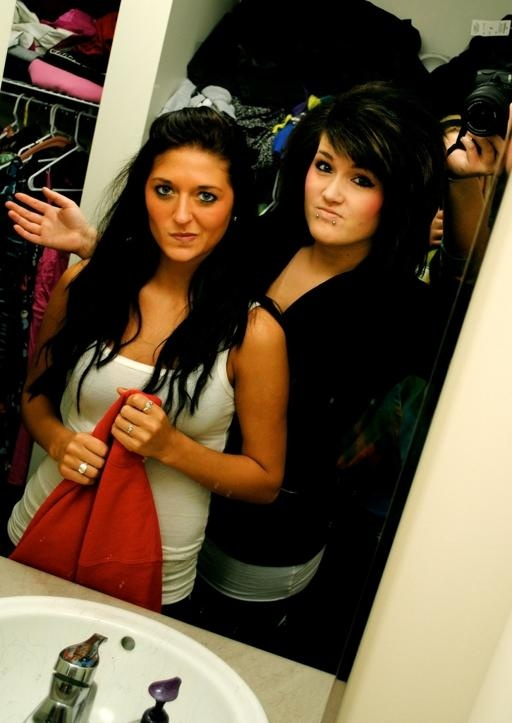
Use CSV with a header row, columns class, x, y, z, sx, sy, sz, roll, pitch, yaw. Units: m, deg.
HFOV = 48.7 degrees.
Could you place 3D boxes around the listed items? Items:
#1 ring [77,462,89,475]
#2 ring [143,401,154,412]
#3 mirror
class,x,y,z,sx,sy,sz,roll,pitch,yaw
ring,-0.250,0.154,0.813,0.010,0.014,0.005,0,-29,19
ring,-0.152,0.062,0.796,0.009,0.018,0.004,38,-6,-30
mirror,0.101,-0.020,0.785,0.287,0.897,0.153,16,13,5
